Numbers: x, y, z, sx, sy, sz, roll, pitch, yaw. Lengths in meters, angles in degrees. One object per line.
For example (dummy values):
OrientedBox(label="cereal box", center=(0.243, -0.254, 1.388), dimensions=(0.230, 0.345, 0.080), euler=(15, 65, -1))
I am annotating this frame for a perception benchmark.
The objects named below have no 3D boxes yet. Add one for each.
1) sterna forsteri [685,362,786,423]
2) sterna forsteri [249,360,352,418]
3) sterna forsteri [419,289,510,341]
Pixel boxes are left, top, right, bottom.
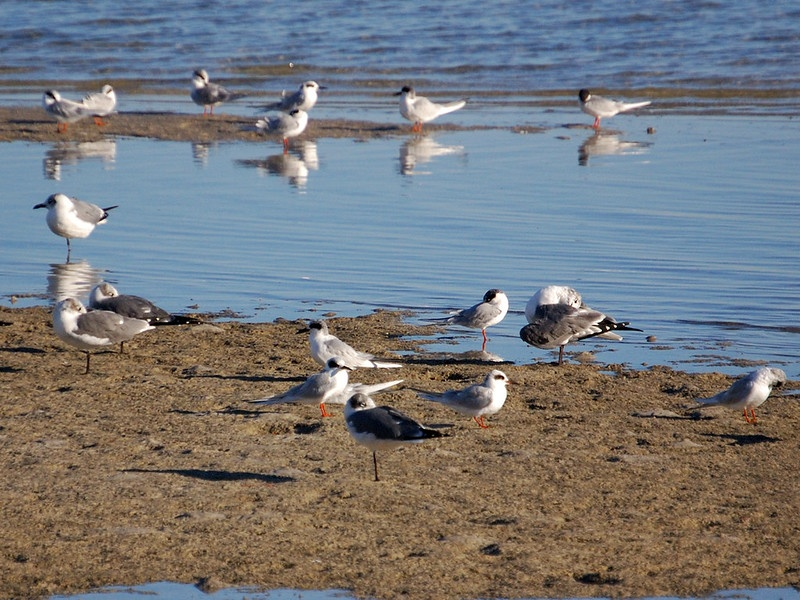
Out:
OrientedBox(label="sterna forsteri", center=(5.410, 1.493, 21.649), dimensions=(1.529, 0.740, 0.679), euler=(-4, -2, 30))
OrientedBox(label="sterna forsteri", center=(-1.709, 1.338, 21.265), dimensions=(2.161, 0.899, 0.614), euler=(-2, 8, -5))
OrientedBox(label="sterna forsteri", center=(1.404, 0.250, 24.129), dimensions=(1.427, 0.829, 0.552), euler=(0, 9, 25))
